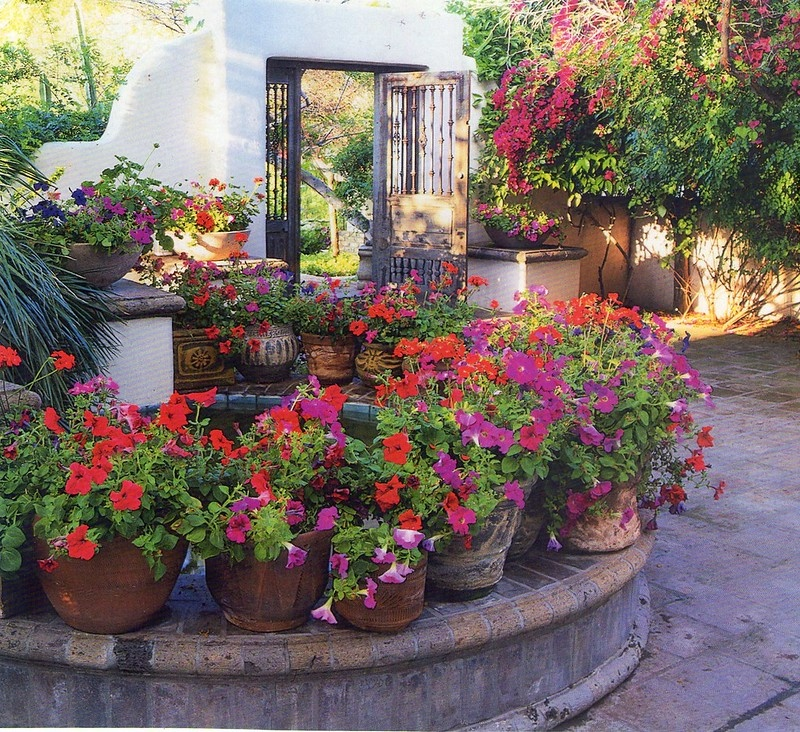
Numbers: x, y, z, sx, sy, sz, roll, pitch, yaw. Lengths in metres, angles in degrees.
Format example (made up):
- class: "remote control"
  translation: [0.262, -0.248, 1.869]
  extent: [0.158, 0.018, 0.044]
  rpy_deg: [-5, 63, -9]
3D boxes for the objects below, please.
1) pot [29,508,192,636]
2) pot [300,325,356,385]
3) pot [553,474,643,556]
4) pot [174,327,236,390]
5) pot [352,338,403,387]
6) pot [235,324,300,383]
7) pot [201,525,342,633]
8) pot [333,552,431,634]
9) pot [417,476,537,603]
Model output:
- class: "pot"
  translation: [-0.716, 0.480, 2.069]
  extent: [0.325, 0.240, 0.322]
  rpy_deg: [0, 1, 0]
- class: "pot"
  translation: [-0.414, -0.060, 4.867]
  extent: [0.331, 0.240, 0.321]
  rpy_deg: [0, 3, 0]
- class: "pot"
  translation: [0.631, 0.466, 2.738]
  extent: [0.245, 0.225, 0.241]
  rpy_deg: [-1, 5, 0]
- class: "pot"
  translation: [-1.122, -0.052, 4.710]
  extent: [0.362, 0.297, 0.126]
  rpy_deg: [-4, 3, -32]
- class: "pot"
  translation: [-0.123, -0.026, 4.675]
  extent: [0.263, 0.202, 0.256]
  rpy_deg: [1, 8, 0]
- class: "pot"
  translation: [-0.764, -0.066, 4.793]
  extent: [0.331, 0.283, 0.348]
  rpy_deg: [-1, 0, 0]
- class: "pot"
  translation: [-0.331, 0.552, 2.036]
  extent: [0.293, 0.189, 0.275]
  rpy_deg: [0, 1, 0]
- class: "pot"
  translation: [-0.044, 0.598, 2.134]
  extent: [0.211, 0.149, 0.205]
  rpy_deg: [0, 1, 0]
- class: "pot"
  translation: [0.204, 0.473, 2.285]
  extent: [0.323, 0.238, 0.314]
  rpy_deg: [0, 12, 0]
